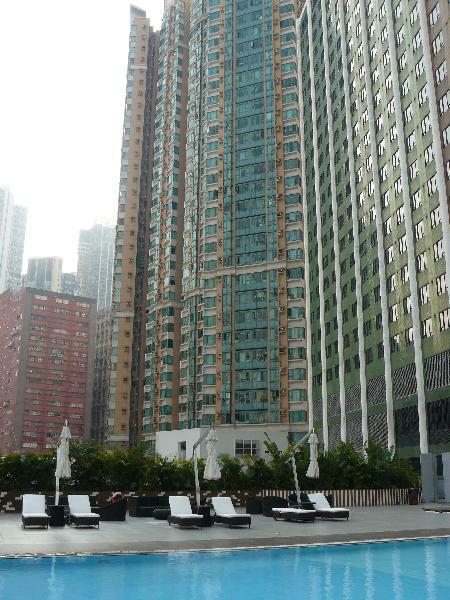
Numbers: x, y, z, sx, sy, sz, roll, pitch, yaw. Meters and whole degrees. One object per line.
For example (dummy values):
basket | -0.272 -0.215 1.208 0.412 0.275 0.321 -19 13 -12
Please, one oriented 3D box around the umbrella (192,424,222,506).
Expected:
umbrella | -0.722 6.657 21.933 1.111 2.871 0.702 -5 -16 6

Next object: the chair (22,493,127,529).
chair | -5.236 6.822 17.980 2.142 1.141 2.951 -7 -14 21

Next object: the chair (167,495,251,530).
chair | -0.624 7.224 18.994 2.533 1.094 2.197 4 -15 -22
